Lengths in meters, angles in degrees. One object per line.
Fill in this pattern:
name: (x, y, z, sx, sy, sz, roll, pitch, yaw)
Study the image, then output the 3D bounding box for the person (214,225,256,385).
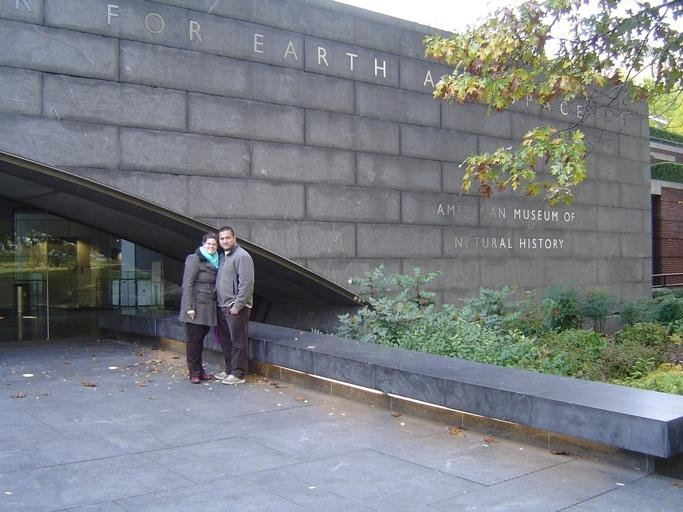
person: (-1.665, 0.747, 8.979, 0.477, 2.399, 0.763, -5, 7, -37)

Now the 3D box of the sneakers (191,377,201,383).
sneakers: (-2.265, 1.903, 9.018, 0.093, 0.042, 0.146, 3, -6, -26)

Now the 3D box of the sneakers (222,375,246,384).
sneakers: (-1.672, 1.893, 8.963, 0.272, 0.098, 0.137, 9, -10, -36)
